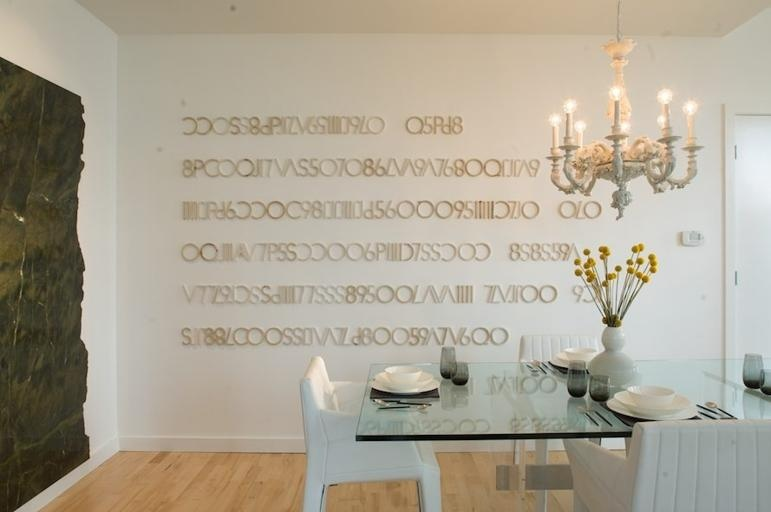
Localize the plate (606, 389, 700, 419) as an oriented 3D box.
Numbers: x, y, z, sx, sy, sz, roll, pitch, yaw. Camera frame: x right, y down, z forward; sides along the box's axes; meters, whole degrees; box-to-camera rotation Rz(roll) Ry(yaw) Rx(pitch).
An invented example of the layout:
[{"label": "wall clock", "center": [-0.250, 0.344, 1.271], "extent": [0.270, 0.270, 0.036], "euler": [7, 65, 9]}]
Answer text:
[{"label": "plate", "center": [1.557, 0.854, 3.722], "extent": [0.504, 0.176, 0.285], "euler": [-5, 1, 17]}]

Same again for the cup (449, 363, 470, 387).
[{"label": "cup", "center": [0.466, 0.756, 4.019], "extent": [0.123, 0.130, 0.128], "euler": [0, -6, 0]}]

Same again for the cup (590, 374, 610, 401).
[{"label": "cup", "center": [1.264, 0.786, 3.760], "extent": [0.125, 0.149, 0.137], "euler": [0, -8, 0]}]

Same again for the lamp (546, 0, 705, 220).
[{"label": "lamp", "center": [1.536, -1.074, 4.268], "extent": [0.853, 1.652, 1.271], "euler": [-4, 2, 17]}]
